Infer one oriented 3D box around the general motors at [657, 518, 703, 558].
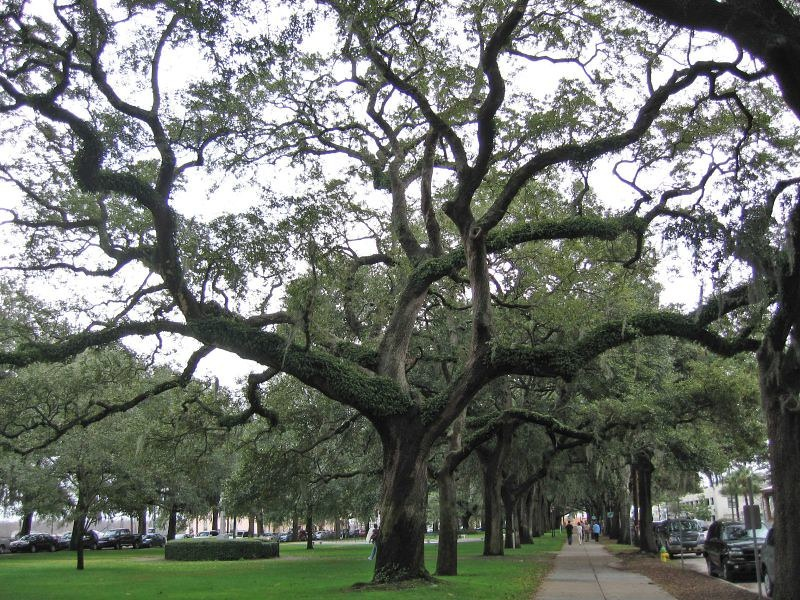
[{"bbox_3d":[14.488,12.271,38.386,1.473,1.319,2.999,-4,-39,2],"label":"general motors"}]
